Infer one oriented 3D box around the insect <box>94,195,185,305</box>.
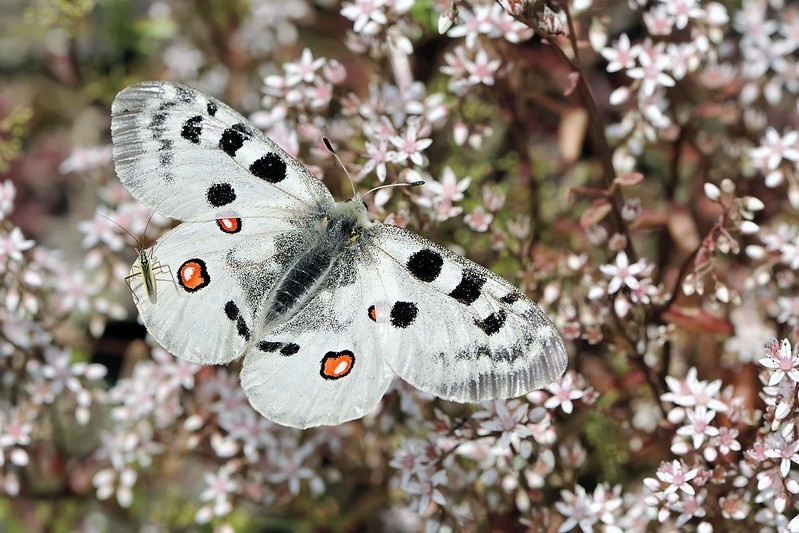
[{"bbox_3d":[-0.910,-0.037,3.470,0.266,0.365,0.118,15,68,9],"label":"insect"}]
